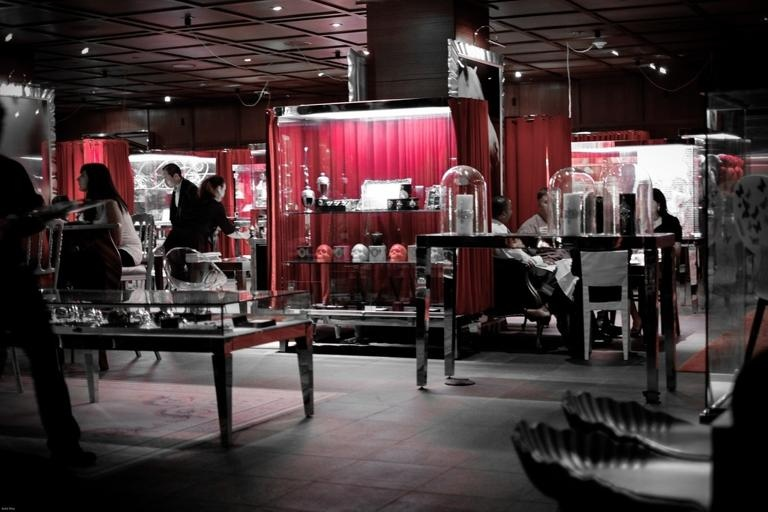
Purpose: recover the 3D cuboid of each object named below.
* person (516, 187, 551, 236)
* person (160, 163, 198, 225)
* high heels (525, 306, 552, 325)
[{"bbox_3d":[1.869,-0.550,7.494,0.435,0.673,0.814,0,7,2],"label":"person"},{"bbox_3d":[-3.319,-0.970,9.637,0.591,0.657,1.709,12,19,-18],"label":"person"},{"bbox_3d":[1.634,0.613,6.374,0.134,0.128,0.359,1,-3,-14],"label":"high heels"}]
